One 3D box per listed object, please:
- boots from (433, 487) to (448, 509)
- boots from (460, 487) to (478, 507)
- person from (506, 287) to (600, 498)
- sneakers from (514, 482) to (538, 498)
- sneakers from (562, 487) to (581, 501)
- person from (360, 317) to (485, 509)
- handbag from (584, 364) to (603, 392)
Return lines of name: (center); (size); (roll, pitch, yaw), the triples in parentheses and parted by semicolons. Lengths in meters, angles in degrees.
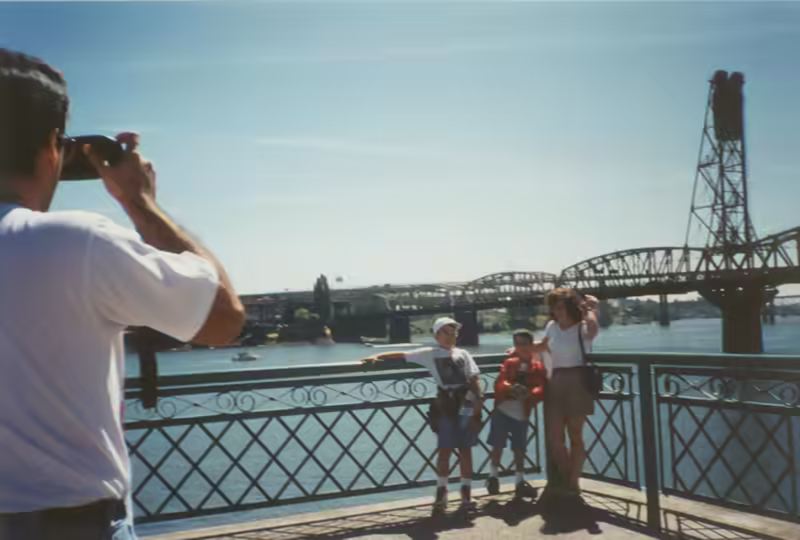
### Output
boots: (0.359, 2.114, 6.834); (0.076, 0.189, 0.160); (7, -16, -39)
boots: (0.671, 2.118, 6.843); (0.210, 0.201, 0.096); (-2, -1, -1)
person: (1.608, 1.123, 7.110); (0.518, 2.001, 0.768); (4, -14, -28)
sneakers: (1.209, 2.117, 7.049); (0.205, 0.100, 0.116); (-4, 5, 9)
sneakers: (1.572, 2.063, 6.689); (0.066, 0.079, 0.202); (-6, -18, 29)
person: (0.401, 1.358, 7.158); (0.950, 1.830, 0.446); (-1, -13, -12)
handbag: (1.806, 1.023, 6.886); (0.131, 0.278, 0.178); (0, -13, -16)
